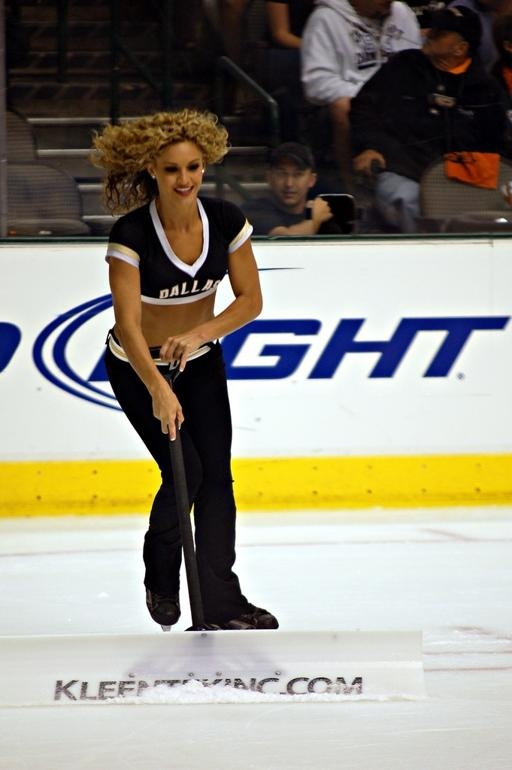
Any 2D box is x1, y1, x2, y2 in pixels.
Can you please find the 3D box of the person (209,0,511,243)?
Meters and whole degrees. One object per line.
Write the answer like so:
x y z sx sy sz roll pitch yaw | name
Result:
0.619 -0.993 4.742 0.863 0.966 0.378 -6 7 -7 | person

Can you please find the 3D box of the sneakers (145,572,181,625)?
-0.270 0.601 3.299 0.068 0.068 0.178 -5 41 -18 | sneakers

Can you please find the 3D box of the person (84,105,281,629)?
-0.181 -0.004 3.165 0.447 1.470 0.507 -3 12 -7 | person
